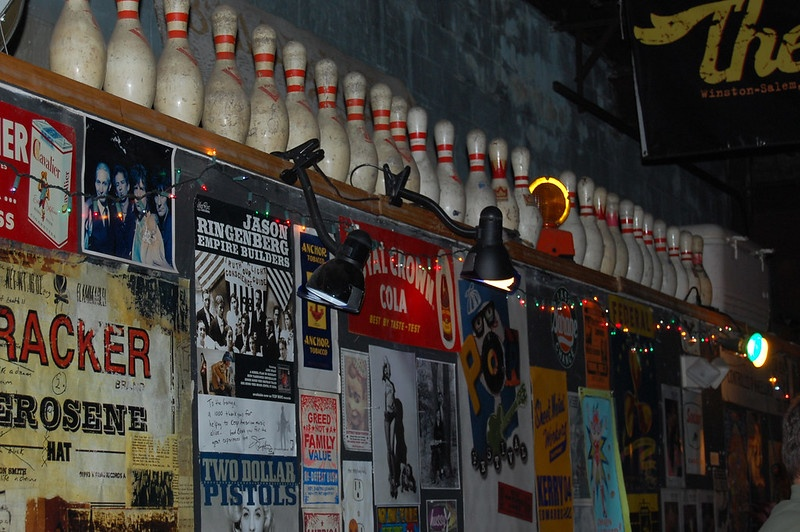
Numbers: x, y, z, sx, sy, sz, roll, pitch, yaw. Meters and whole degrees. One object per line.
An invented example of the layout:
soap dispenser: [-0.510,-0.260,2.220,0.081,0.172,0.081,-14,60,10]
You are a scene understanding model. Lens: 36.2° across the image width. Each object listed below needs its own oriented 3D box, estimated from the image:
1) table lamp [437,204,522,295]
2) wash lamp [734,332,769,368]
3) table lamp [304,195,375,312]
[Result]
table lamp: [0.344,-0.064,4.867,0.205,0.348,0.342,5,1,-42]
wash lamp: [2.065,0.481,7.264,0.192,0.205,0.050,34,-9,-32]
table lamp: [-0.233,-0.050,4.563,0.257,0.506,0.256,6,-17,-2]
